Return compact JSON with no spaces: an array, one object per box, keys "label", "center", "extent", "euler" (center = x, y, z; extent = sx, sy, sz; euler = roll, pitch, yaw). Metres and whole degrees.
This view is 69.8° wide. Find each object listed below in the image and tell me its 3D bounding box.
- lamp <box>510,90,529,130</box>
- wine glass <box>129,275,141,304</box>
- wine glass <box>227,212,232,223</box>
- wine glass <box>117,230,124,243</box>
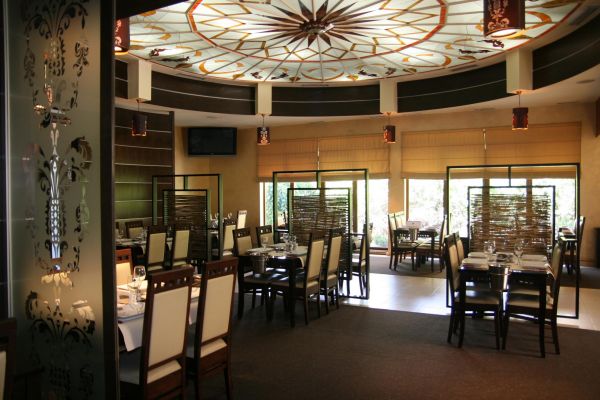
[{"label":"lamp","center":[4.501,-1.822,8.840],"extent":[0.253,0.705,1.594],"euler":[2,6,25]},{"label":"wine glass","center":[-1.580,0.859,4.157],"extent":[0.106,0.244,0.220],"euler":[-3,6,-19]},{"label":"wine glass","center":[-1.842,0.443,11.192],"extent":[0.161,0.256,0.168],"euler":[2,0,21]},{"label":"wine glass","center":[-3.630,0.740,8.691],"extent":[0.165,0.257,0.174],"euler":[-1,-5,0]}]
